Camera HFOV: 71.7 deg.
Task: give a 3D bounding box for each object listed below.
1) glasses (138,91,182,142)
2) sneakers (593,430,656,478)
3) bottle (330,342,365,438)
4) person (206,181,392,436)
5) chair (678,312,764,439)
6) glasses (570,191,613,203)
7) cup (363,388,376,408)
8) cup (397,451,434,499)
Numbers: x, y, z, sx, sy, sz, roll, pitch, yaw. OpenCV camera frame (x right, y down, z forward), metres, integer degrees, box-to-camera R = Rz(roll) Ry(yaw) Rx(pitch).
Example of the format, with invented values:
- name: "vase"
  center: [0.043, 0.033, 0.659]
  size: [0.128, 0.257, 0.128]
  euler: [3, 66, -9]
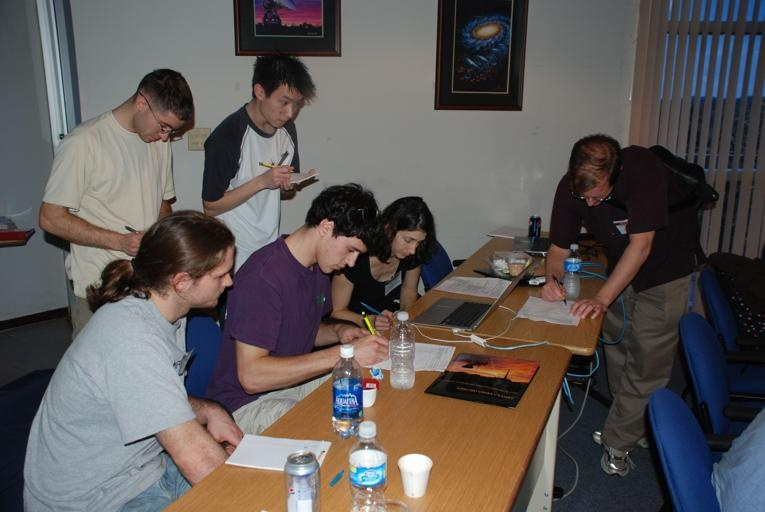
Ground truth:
- name: "glasses"
  center: [-1.338, -0.803, 3.084]
  size: [0.270, 0.125, 0.212]
  euler: [47, 24, 20]
- name: "sneakers"
  center: [1.508, 1.294, 3.315]
  size: [0.164, 0.212, 0.494]
  euler: [0, 20, 7]
- name: "bottle"
  center: [-0.146, 0.559, 2.181]
  size: [0.172, 0.374, 0.167]
  euler: [-1, -1, 0]
- name: "person"
  center: [-0.409, 0.471, 2.683]
  size: [0.739, 1.647, 0.885]
  euler: [-4, 19, -36]
- name: "chair"
  center: [1.749, 0.605, 2.693]
  size: [0.357, 0.591, 0.405]
  euler: [-4, 25, 34]
- name: "glasses"
  center: [1.262, -0.342, 3.118]
  size: [0.135, 0.041, 0.128]
  euler: [-18, 21, -41]
- name: "cup"
  center: [-0.057, 0.603, 2.253]
  size: [0.064, 0.053, 0.067]
  euler: [-2, 6, 0]
- name: "cup"
  center: [0.117, 0.773, 1.899]
  size: [0.125, 0.105, 0.131]
  euler: [-1, 8, 0]
